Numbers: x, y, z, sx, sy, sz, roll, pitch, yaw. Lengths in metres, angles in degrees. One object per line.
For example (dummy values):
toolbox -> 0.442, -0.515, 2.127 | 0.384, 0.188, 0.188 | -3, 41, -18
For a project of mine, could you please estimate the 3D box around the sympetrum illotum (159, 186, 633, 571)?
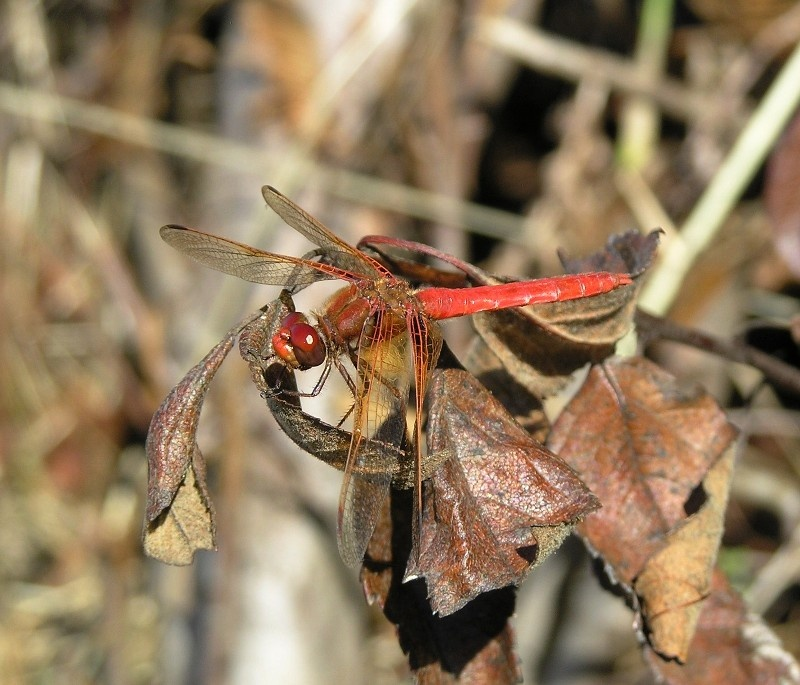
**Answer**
sympetrum illotum -> -0.010, 0.001, 0.774 | 0.368, 0.225, 0.217 | -12, 28, 12
